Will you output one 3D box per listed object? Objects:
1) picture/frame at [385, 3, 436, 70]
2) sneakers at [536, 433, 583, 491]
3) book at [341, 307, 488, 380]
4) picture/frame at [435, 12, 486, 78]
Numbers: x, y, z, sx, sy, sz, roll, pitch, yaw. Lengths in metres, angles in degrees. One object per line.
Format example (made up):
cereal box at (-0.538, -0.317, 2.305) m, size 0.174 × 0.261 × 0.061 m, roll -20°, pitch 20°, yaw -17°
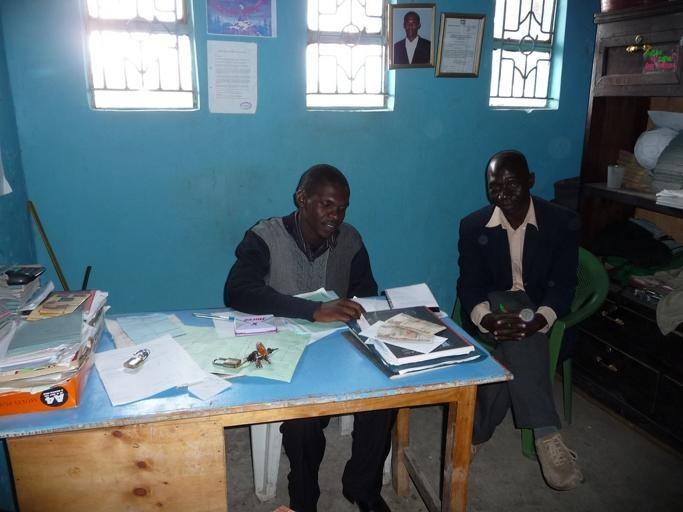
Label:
picture/frame at (0.420, -1.334, 2.901) m, size 0.378 × 0.443 × 0.033 m, roll -3°, pitch 13°, yaw -9°
sneakers at (1.026, 0.976, 2.327) m, size 0.177 × 0.113 × 0.288 m, roll -16°, pitch 56°, yaw -2°
book at (0.244, 0.347, 1.906) m, size 0.300 × 0.073 × 0.298 m, roll -7°, pitch 22°, yaw -22°
picture/frame at (0.718, -1.315, 2.962) m, size 0.390 × 0.423 × 0.030 m, roll -3°, pitch 23°, yaw -24°
